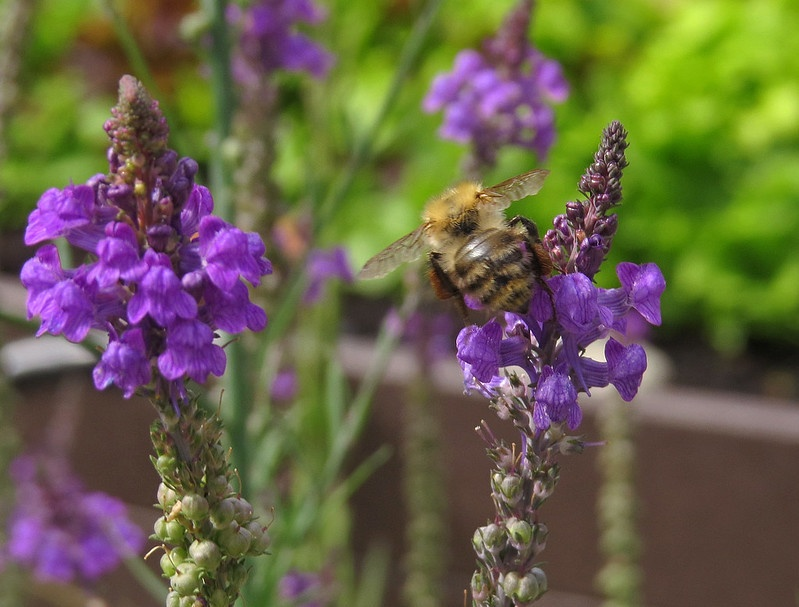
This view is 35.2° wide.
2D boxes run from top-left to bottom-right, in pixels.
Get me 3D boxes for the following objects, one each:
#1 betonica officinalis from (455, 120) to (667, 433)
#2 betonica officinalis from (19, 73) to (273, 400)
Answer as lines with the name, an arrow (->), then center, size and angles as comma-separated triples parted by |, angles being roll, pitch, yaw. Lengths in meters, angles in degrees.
betonica officinalis -> 0.309, 0.023, 2.595 | 0.307, 0.749, 0.364 | -1, 22, -11
betonica officinalis -> -0.492, -0.077, 2.465 | 0.363, 0.756, 0.303 | -7, 16, -33
